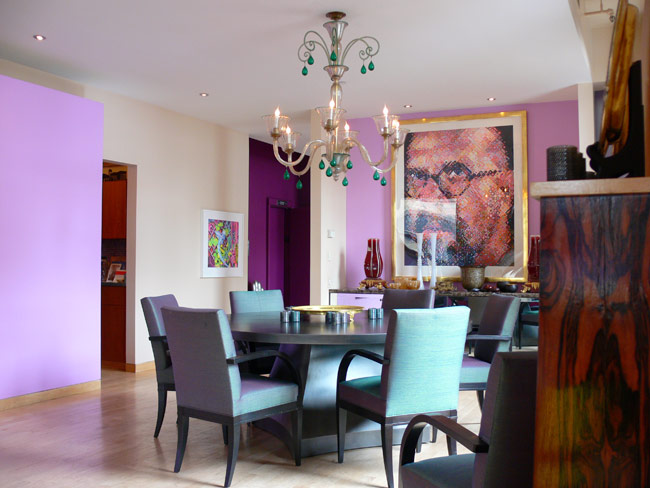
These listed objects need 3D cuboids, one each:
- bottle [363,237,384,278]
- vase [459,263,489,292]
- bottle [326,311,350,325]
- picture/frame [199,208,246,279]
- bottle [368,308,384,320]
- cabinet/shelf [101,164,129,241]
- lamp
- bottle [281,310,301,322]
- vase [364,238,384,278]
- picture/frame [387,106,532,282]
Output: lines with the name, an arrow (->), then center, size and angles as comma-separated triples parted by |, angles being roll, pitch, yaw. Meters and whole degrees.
bottle -> 0.613, 0.189, 6.673 | 0.255, 0.509, 0.267 | -1, 12, 0
vase -> 1.686, 0.386, 5.978 | 0.255, 0.227, 0.268 | 2, 3, 10
bottle -> 0.067, 0.490, 3.516 | 0.198, 0.068, 0.096 | -3, -1, 34
picture/frame -> -1.426, 0.006, 7.201 | 0.041, 1.051, 0.885 | -3, -6, 29
bottle -> 0.382, 0.511, 3.833 | 0.118, 0.087, 0.069 | 5, -10, -44
cabinet/shelf -> -2.623, -0.427, 6.748 | 0.360, 0.708, 0.394 | 0, -9, -8
lamp -> 0.086, -1.169, 4.240 | 1.033, 1.283, 1.090 | 3, 14, 12
bottle -> -0.226, 0.488, 3.551 | 0.096, 0.054, 0.077 | 1, -2, -9
vase -> 0.605, 0.195, 6.587 | 0.208, 0.406, 0.199 | -2, -1, 13
picture/frame -> 1.729, -0.606, 6.426 | 1.942, 2.656, 0.091 | -1, -6, 21
